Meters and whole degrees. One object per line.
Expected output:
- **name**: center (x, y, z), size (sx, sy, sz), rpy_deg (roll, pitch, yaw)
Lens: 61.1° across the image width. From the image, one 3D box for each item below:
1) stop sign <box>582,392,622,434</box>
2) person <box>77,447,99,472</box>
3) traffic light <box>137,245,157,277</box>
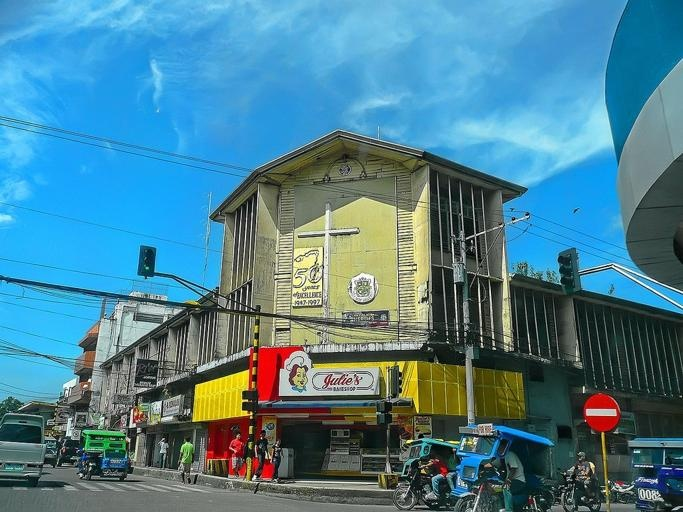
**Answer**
- **stop sign**: center (6.265, 3.765, 14.001), size (0.704, 0.912, 0.604), rpy_deg (-4, -21, 18)
- **person**: center (-11.596, 9.463, 26.709), size (0.664, 1.106, 1.957), rpy_deg (16, -23, -30)
- **traffic light**: center (-6.581, 0.206, 19.609), size (0.575, 1.100, 0.322), rpy_deg (12, -22, -23)
